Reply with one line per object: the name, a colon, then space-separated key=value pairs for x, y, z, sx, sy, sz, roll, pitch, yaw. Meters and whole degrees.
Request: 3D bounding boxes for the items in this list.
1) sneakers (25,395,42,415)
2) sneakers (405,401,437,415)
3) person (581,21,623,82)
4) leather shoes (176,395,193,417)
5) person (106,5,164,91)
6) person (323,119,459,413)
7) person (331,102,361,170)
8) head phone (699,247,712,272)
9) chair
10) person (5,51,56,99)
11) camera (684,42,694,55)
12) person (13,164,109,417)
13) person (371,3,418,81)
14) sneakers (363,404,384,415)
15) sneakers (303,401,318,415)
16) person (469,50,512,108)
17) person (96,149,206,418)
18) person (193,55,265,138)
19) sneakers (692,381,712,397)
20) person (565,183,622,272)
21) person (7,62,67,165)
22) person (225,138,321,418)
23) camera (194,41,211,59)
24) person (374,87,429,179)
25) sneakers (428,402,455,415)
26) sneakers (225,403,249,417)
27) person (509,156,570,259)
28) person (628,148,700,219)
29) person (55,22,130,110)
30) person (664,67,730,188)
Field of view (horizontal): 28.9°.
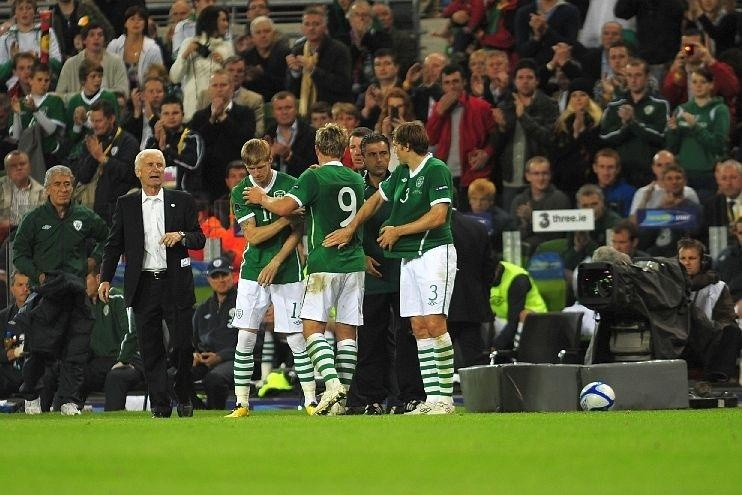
sneakers: x=-4.287 y=1.967 z=17.961 sx=0.254 sy=0.267 sz=0.163 roll=3 pitch=-6 yaw=-17
sneakers: x=0.551 y=1.778 z=16.031 sx=0.337 sy=0.140 sz=0.129 roll=0 pitch=-2 yaw=26
person: x=3.404 y=-2.618 z=20.559 sx=0.634 sy=1.184 sz=0.517 roll=1 pitch=4 yaw=10
leather shoes: x=-2.186 y=1.824 z=16.639 sx=0.178 sy=0.222 sz=0.226 roll=-1 pitch=-3 yaw=-13
person: x=-3.799 y=-3.082 z=22.782 sx=1.189 sy=1.889 sz=0.566 roll=-2 pitch=-16 yaw=-6
person: x=0.412 y=0.230 z=16.107 sx=1.067 sy=3.224 sz=0.423 roll=-2 pitch=-3 yaw=2
person: x=-0.443 y=-1.668 z=21.252 sx=0.432 sy=0.960 sz=0.470 roll=-1 pitch=-3 yaw=20
head phone: x=4.213 y=0.153 z=17.960 sx=0.182 sy=0.259 sz=0.128 roll=1 pitch=17 yaw=2
chair: x=2.164 y=1.101 z=17.594 sx=0.726 sy=0.927 sz=0.801 roll=0 pitch=-7 yaw=22
person: x=-5.522 y=-2.726 z=23.065 sx=0.539 sy=0.865 sz=0.538 roll=18 pitch=-15 yaw=-29
camera: x=4.500 y=-2.769 z=20.162 sx=0.145 sy=0.136 sz=0.145 roll=-2 pitch=5 yaw=-32
person: x=-3.937 y=0.528 z=17.891 sx=1.052 sy=3.004 sz=0.754 roll=-3 pitch=-3 yaw=25
person: x=0.479 y=-3.182 z=21.720 sx=0.858 sy=1.162 sz=0.966 roll=-2 pitch=8 yaw=-6
sneakers: x=0.022 y=1.878 z=16.738 sx=0.095 sy=0.125 sz=0.268 roll=-7 pitch=-17 yaw=30
sneakers: x=-0.696 y=1.786 z=16.109 sx=0.124 sy=0.110 sz=0.144 roll=-1 pitch=6 yaw=1
person: x=1.812 y=-2.428 z=20.869 sx=0.600 sy=0.819 sz=0.484 roll=-4 pitch=3 yaw=35
person: x=-2.570 y=0.431 z=16.754 sx=1.194 sy=3.110 sz=1.032 roll=-3 pitch=0 yaw=2
person: x=-2.164 y=-2.254 z=21.966 sx=1.019 sy=1.597 sz=0.862 roll=-3 pitch=-13 yaw=7
sneakers: x=3.913 y=1.643 z=16.804 sx=0.171 sy=0.152 sz=0.145 roll=6 pitch=-13 yaw=-5
person: x=3.082 y=-0.278 z=19.818 sx=0.780 sy=1.224 sz=0.390 roll=-2 pitch=-3 yaw=11
person: x=-5.321 y=-2.102 z=22.790 sx=0.959 sy=1.697 sz=0.523 roll=-1 pitch=-3 yaw=-1
person: x=-1.199 y=0.379 z=16.365 sx=1.018 sy=3.178 sz=0.892 roll=-1 pitch=-1 yaw=7
camera: x=-2.654 y=-3.046 z=22.391 sx=0.204 sy=0.221 sz=0.053 roll=-44 pitch=-3 yaw=0
person: x=0.278 y=-1.663 z=20.658 sx=0.873 sy=1.257 sz=0.433 roll=-2 pitch=1 yaw=12
sneakers: x=0.792 y=1.784 z=16.032 sx=0.252 sy=0.104 sz=0.124 roll=3 pitch=-7 yaw=-23
sneakers: x=-1.532 y=1.839 z=16.252 sx=0.306 sy=0.133 sz=0.118 roll=2 pitch=-4 yaw=-25
person: x=2.314 y=-0.387 z=20.020 sx=0.805 sy=1.725 sz=0.940 roll=1 pitch=-2 yaw=18
person: x=4.081 y=-0.841 z=19.728 sx=0.796 sy=1.379 sz=0.431 roll=-1 pitch=-31 yaw=11
person: x=-4.465 y=-2.801 z=23.192 sx=1.290 sy=1.527 sz=1.048 roll=-1 pitch=-14 yaw=-12
person: x=4.558 y=-1.332 z=20.086 sx=0.738 sy=2.167 sz=0.734 roll=8 pitch=6 yaw=37
